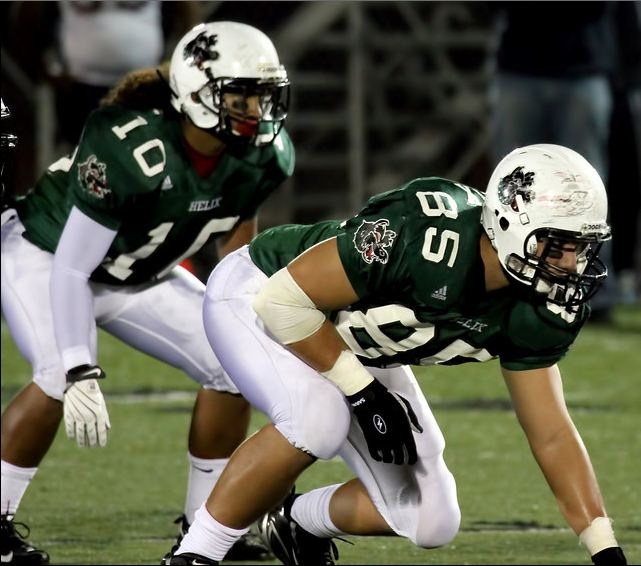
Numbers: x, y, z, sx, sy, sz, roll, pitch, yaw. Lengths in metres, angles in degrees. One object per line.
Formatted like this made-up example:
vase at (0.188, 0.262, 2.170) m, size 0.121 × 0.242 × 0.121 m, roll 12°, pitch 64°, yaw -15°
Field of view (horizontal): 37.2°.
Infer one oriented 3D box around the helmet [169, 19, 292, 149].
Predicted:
helmet at (-0.229, -0.499, 2.432) m, size 0.317 × 0.308 × 0.246 m, roll 17°, pitch 20°, yaw 31°

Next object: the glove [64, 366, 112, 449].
glove at (-0.543, 0.301, 2.218) m, size 0.104 × 0.232 × 0.122 m, roll 0°, pitch 23°, yaw -16°

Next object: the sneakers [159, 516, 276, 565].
sneakers at (-0.228, 0.642, 2.275) m, size 0.302 × 0.128 × 0.100 m, roll -2°, pitch 11°, yaw -11°

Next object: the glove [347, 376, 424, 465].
glove at (0.139, 0.291, 2.045) m, size 0.135 × 0.205 × 0.062 m, roll -20°, pitch 5°, yaw -12°
